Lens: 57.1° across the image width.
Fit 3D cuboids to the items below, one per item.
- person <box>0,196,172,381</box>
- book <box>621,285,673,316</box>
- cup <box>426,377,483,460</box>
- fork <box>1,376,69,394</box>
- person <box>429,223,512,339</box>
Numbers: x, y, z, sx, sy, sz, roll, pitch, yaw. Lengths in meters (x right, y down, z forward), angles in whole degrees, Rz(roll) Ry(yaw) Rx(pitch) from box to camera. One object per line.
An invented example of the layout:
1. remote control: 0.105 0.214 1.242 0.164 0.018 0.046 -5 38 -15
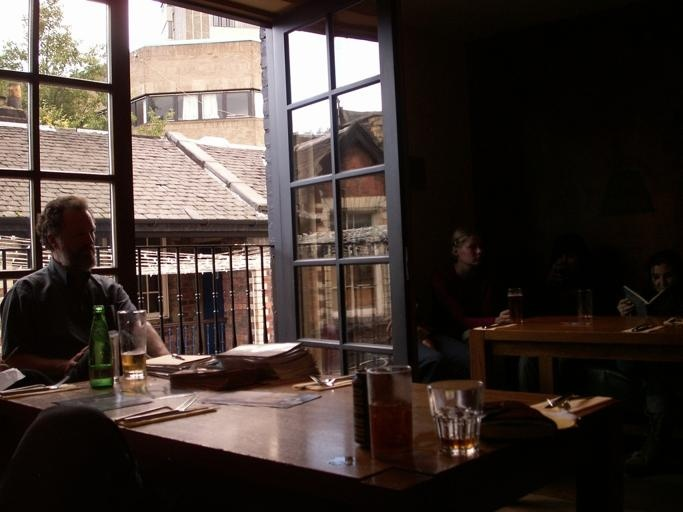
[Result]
1. person: -1.291 0.187 3.178 0.784 0.937 0.792 -8 -12 25
2. book: 1.649 0.249 3.424 0.200 0.099 0.237 0 -37 22
3. cup: 0.265 0.371 1.451 0.127 0.146 0.122 -1 4 0
4. fork: -1.076 0.450 2.192 0.292 0.060 0.051 2 4 1
5. person: 0.822 0.178 4.157 0.442 0.705 1.391 0 4 13
